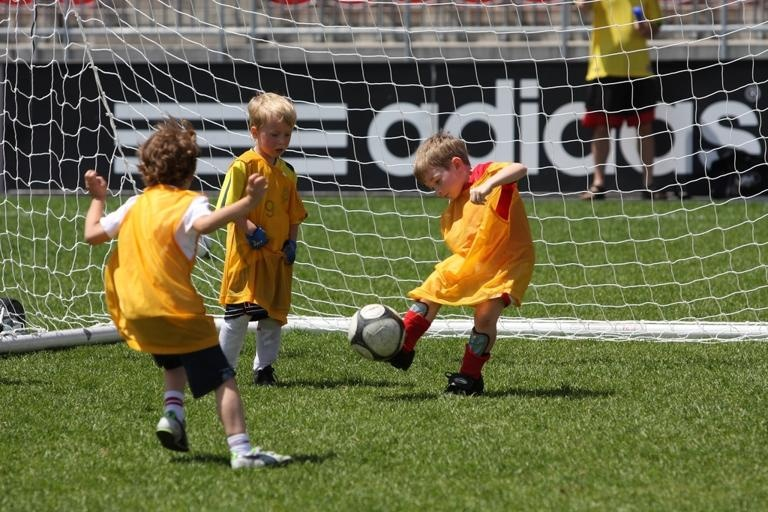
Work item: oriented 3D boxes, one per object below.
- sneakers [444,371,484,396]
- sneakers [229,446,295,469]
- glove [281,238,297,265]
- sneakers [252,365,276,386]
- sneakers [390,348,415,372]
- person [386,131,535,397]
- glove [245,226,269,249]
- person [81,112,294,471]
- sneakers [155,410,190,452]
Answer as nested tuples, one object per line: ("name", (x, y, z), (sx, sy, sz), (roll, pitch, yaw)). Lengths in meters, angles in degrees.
("sneakers", (0.497, 0.797, 5.724), (0.219, 0.097, 0.114), (16, -6, -14))
("sneakers", (-0.673, 1.094, 5.012), (0.314, 0.129, 0.116), (-3, -3, -6))
("glove", (-0.597, -0.019, 5.824), (0.045, 0.140, 0.102), (-3, 20, -13))
("sneakers", (-0.769, 0.765, 5.929), (0.143, 0.148, 0.088), (10, -12, -19))
("sneakers", (0.127, 0.659, 5.757), (0.143, 0.118, 0.115), (19, 23, 29))
("person", (0.519, 0.064, 5.775), (1.021, 1.649, 0.884), (-10, -17, 38))
("glove", (-0.765, -0.103, 5.601), (0.121, 0.124, 0.046), (-40, 8, 27))
("person", (-1.134, 0.193, 5.025), (1.158, 1.859, 0.433), (3, 7, 26))
("sneakers", (-1.140, 0.966, 4.984), (0.159, 0.268, 0.166), (-2, 7, -14))
